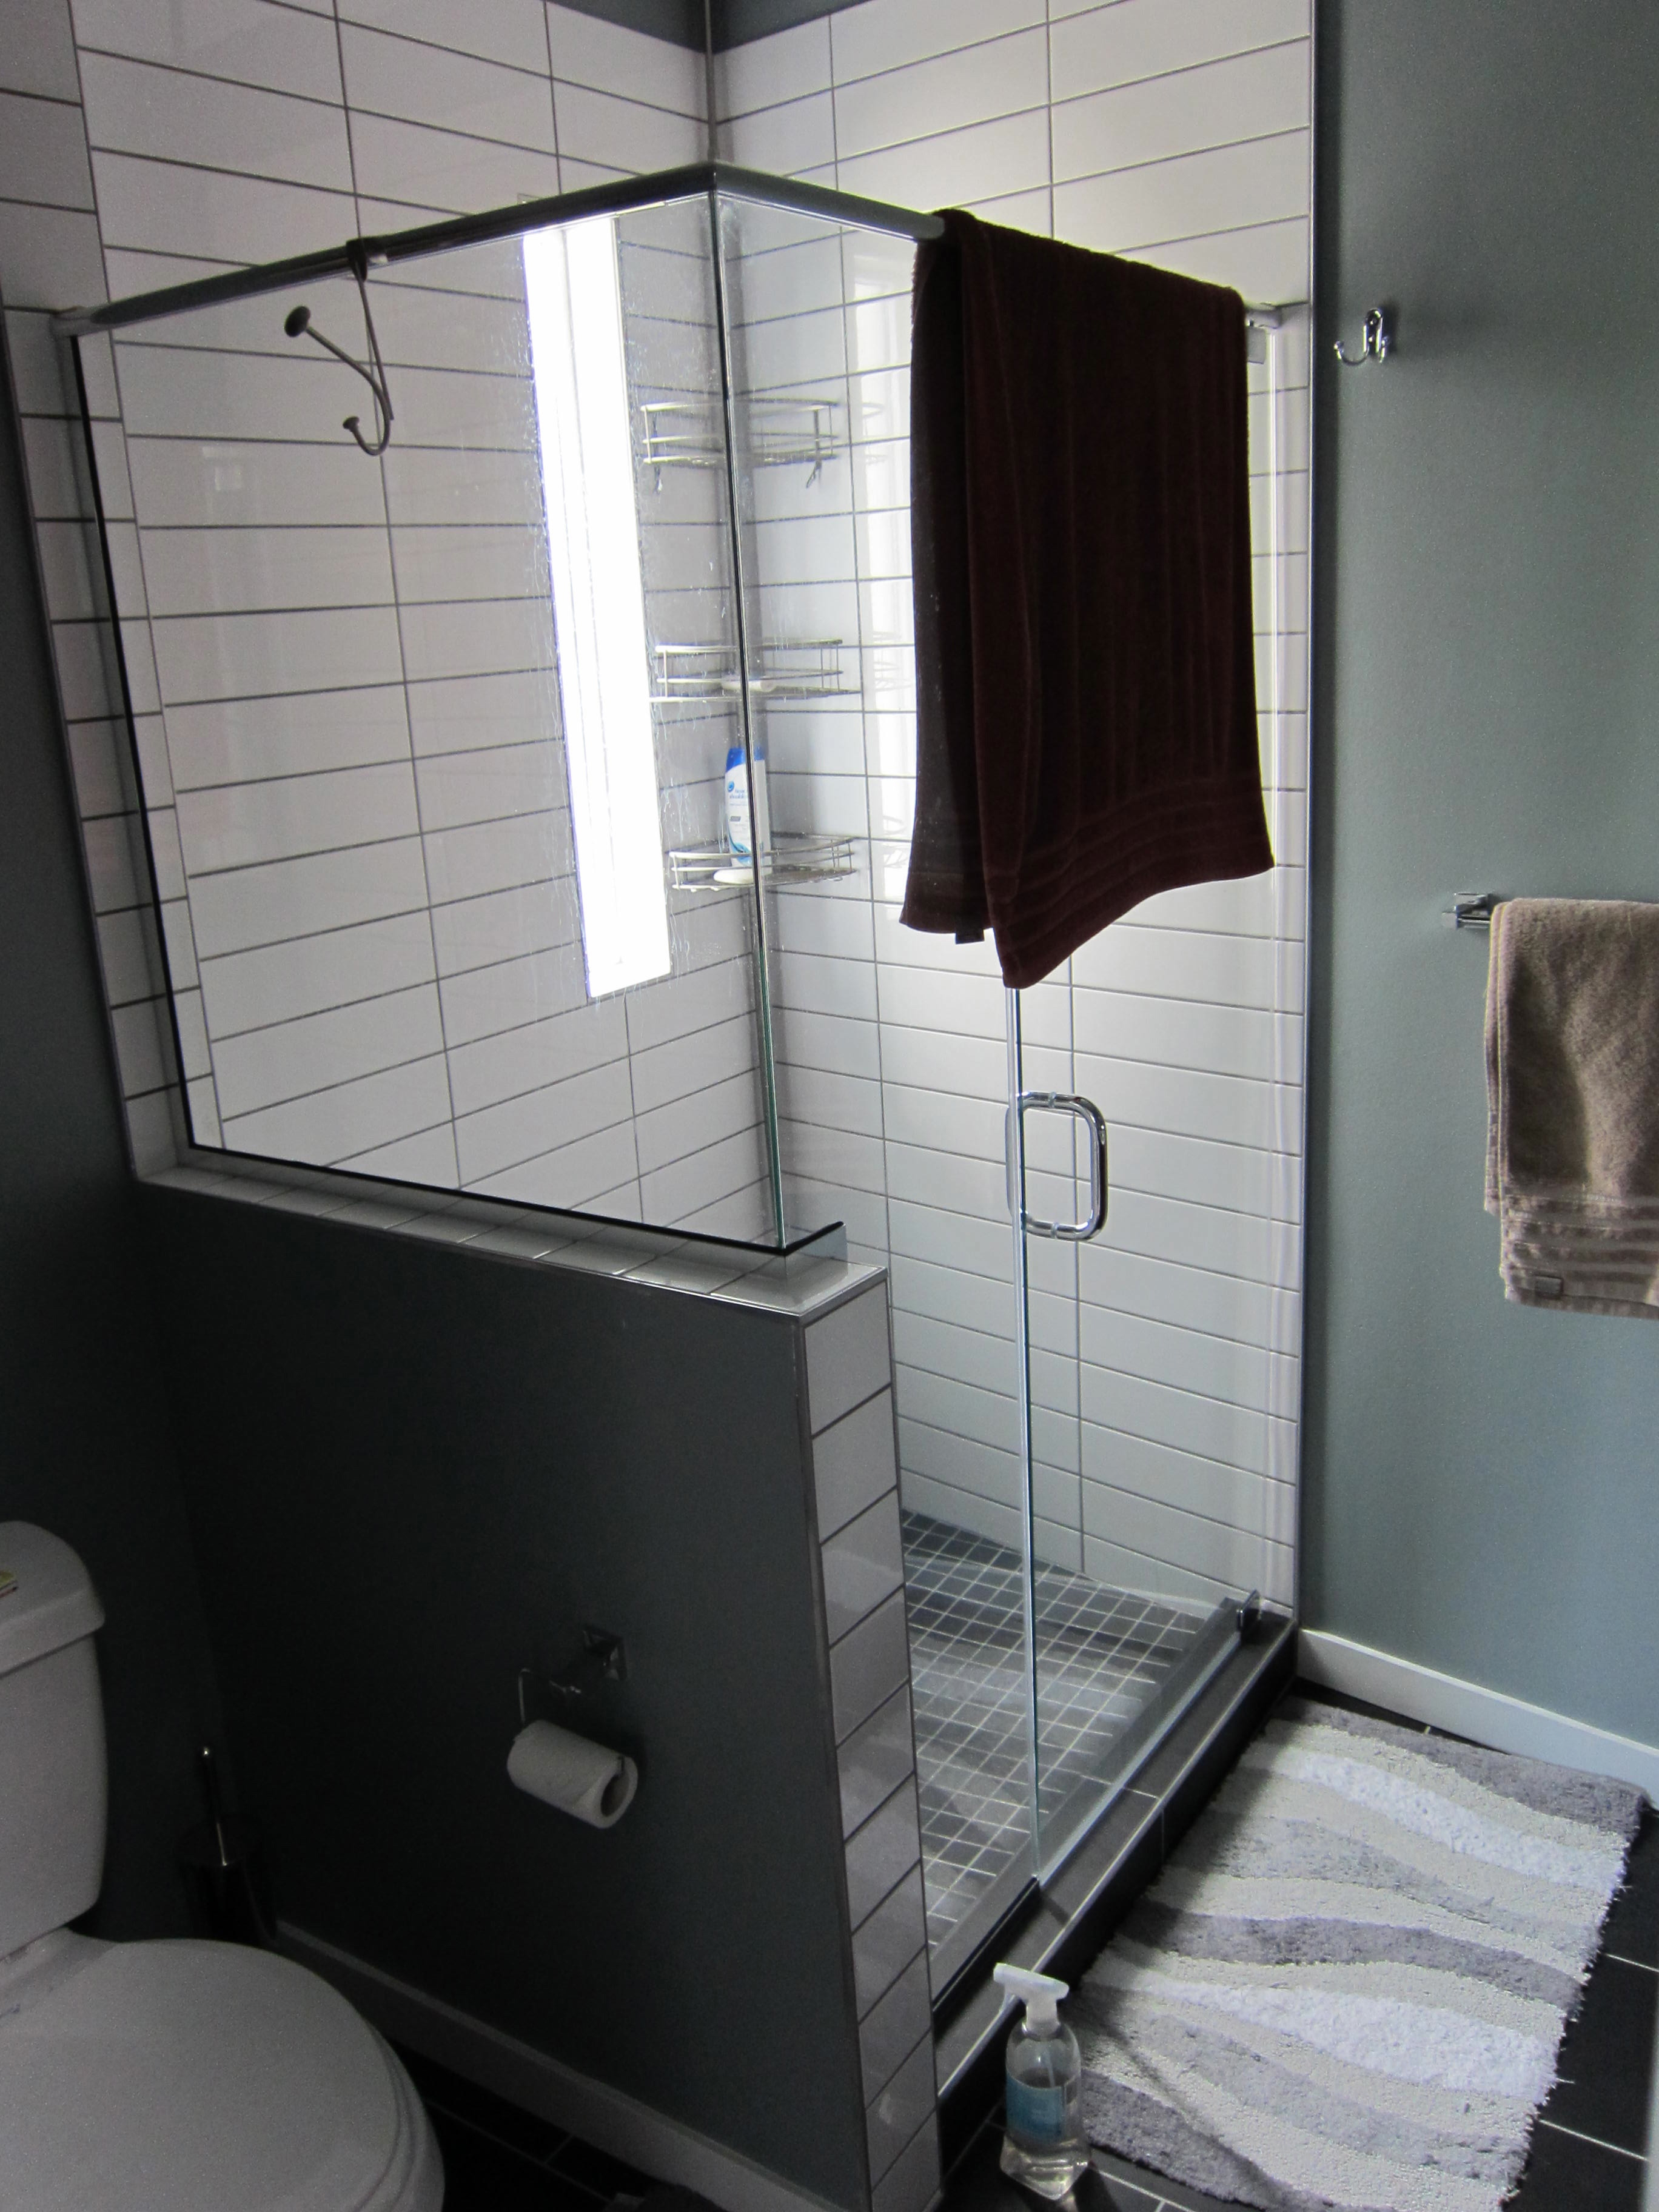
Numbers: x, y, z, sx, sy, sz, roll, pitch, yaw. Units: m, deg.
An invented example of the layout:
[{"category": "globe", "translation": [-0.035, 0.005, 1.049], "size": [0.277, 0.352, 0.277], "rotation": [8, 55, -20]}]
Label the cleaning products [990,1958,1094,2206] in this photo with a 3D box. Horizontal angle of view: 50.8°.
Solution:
[{"category": "cleaning products", "translation": [0.210, 0.924, 1.733], "size": [0.085, 0.252, 0.134], "rotation": [0, 13, 9]}]

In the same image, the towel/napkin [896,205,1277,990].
[{"category": "towel/napkin", "translation": [0.272, -0.513, 1.735], "size": [0.126, 0.627, 0.533], "rotation": [8, 17, 38]}]
